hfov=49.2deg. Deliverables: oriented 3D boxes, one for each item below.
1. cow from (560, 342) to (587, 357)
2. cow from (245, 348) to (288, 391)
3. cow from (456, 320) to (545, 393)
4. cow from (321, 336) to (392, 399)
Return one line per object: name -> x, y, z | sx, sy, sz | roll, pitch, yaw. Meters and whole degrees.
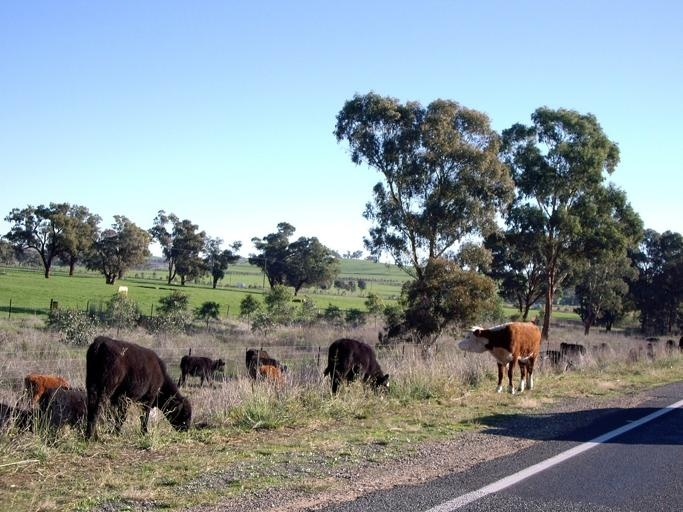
cow -> 10.711, 4.309, 34.535 | 0.966, 0.540, 4.070 | 2, 2, 16
cow -> -2.663, 3.878, 26.032 | 0.797, 1.962, 3.103 | 0, -6, -29
cow -> 5.572, 3.370, 25.120 | 2.931, 2.182, 1.504 | 0, 3, -36
cow -> 0.075, 3.360, 23.299 | 0.505, 1.360, 2.130 | 11, 16, 35
